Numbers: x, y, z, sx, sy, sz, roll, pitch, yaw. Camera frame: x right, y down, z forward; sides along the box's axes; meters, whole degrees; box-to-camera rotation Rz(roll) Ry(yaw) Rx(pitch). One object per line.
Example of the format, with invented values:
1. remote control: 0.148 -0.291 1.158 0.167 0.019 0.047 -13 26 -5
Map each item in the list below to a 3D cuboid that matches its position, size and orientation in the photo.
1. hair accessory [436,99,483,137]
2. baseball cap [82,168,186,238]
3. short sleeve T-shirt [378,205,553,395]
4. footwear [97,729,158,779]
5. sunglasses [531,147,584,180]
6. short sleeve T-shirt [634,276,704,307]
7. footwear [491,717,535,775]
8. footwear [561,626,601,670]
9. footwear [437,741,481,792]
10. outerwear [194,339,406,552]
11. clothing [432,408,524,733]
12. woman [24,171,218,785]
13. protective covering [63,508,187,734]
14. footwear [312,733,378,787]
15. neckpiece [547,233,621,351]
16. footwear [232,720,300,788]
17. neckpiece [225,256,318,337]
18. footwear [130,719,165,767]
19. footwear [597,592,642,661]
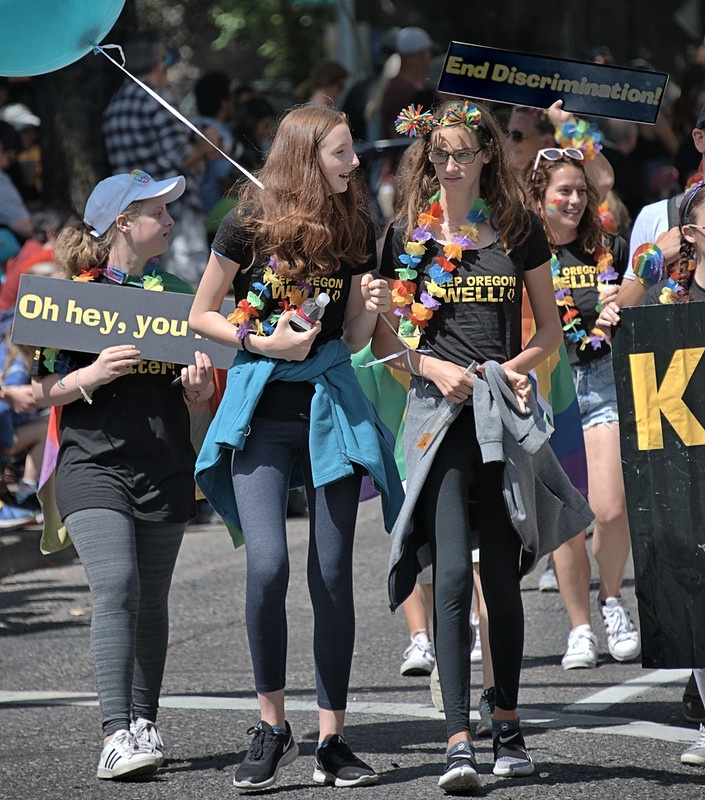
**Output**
1. hair accessory: 0.352 -0.903 3.611 0.117 0.094 0.039 -2 -18 0
2. baseball cap: -0.743 -0.675 3.842 0.327 0.159 0.203 -34 5 12
3. short sleeve T-shirt: 0.376 -0.373 3.727 0.626 0.487 0.305 5 7 3
4. footwear: -0.685 1.078 3.470 0.188 0.167 0.123 -1 2 -6
5. sunglasses: 0.939 -1.114 5.205 0.196 0.165 0.052 -3 41 -23
6. short sleeve T-shirt: 1.049 -0.356 3.735 0.151 0.054 0.185 3 -9 -4
7. footwear: 0.490 1.053 3.461 0.125 0.158 0.127 -1 2 7
8. footwear: 0.961 1.044 4.777 0.102 0.102 0.239 -3 -1 15
9. footwear: 0.303 1.042 3.215 0.110 0.141 0.095 -1 2 3
10. outerwear: -0.161 0.100 3.623 0.698 0.569 0.345 -1 -22 -5
11. clothing: 0.361 0.502 3.471 0.255 0.946 0.465 -1 2 26
12. woman: -0.721 0.201 3.749 0.779 1.865 0.710 0 0 12
13. protective covering: -0.677 0.699 3.640 0.415 0.681 0.251 7 -28 -42
14. footwear: -0.030 1.084 3.430 0.100 0.105 0.242 3 -6 -37
15. neckpiece: 1.125 -0.478 5.366 0.461 0.536 0.212 -7 -11 24
16. footwear: -0.238 1.034 3.409 0.110 0.125 0.282 -1 13 23
17. neckpiece: -0.258 -0.309 3.549 0.202 0.275 0.081 23 13 -1
18. footwear: -0.640 1.063 3.600 0.082 0.081 0.210 -13 21 -30
19. footwear: 1.163 0.985 4.980 0.118 0.127 0.310 -13 32 6
